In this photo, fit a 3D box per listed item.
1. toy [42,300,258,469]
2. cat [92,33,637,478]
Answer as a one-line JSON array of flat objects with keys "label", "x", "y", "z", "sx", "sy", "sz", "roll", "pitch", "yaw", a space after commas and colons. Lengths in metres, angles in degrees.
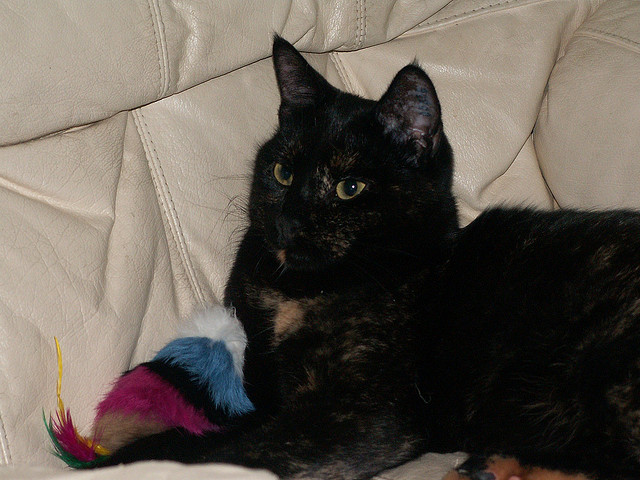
[{"label": "toy", "x": -0.301, "y": 0.270, "z": 1.499, "sx": 0.304, "sy": 0.207, "sz": 0.231, "roll": -22, "pitch": 28, "yaw": -39}, {"label": "cat", "x": 0.227, "y": 0.180, "z": 1.763, "sx": 1.382, "sy": 0.915, "sz": 0.535, "roll": 13, "pitch": -22, "yaw": -23}]
